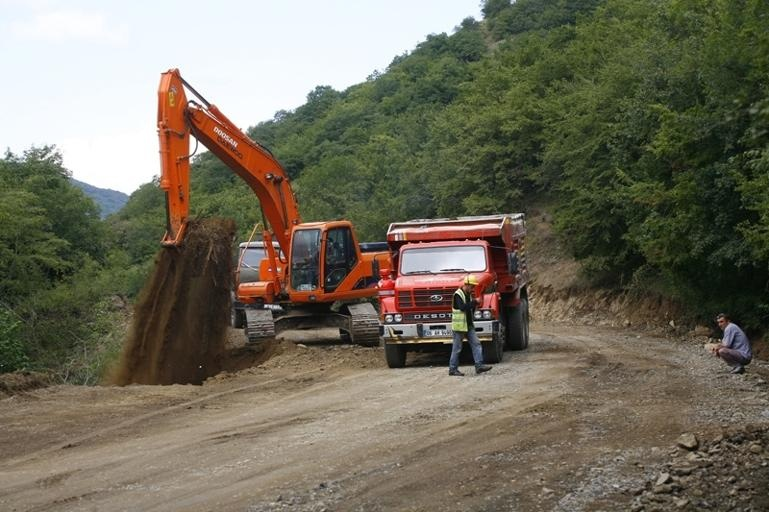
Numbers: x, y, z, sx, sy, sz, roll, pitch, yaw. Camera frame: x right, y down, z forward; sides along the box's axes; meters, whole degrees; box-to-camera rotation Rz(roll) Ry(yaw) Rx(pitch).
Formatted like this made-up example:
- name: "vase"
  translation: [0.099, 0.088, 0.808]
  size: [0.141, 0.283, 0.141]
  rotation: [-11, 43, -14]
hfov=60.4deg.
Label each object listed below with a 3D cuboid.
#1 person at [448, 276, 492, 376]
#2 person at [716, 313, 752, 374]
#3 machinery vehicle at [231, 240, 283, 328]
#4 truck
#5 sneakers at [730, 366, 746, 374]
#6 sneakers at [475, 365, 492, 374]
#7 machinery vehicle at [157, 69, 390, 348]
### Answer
- name: "person"
  translation: [2.129, 1.790, 17.426]
  size: [1.244, 2.498, 1.051]
  rotation: [-6, 8, -16]
- name: "person"
  translation: [8.822, 2.233, 16.753]
  size: [0.782, 1.460, 1.064]
  rotation: [0, 8, 26]
- name: "machinery vehicle"
  translation: [-5.522, 1.252, 28.521]
  size: [2.290, 3.053, 3.198]
  rotation: [0, -6, -6]
- name: "truck"
  translation: [2.381, 0.884, 20.612]
  size: [2.988, 3.090, 5.784]
  rotation: [-4, -5, 15]
- name: "sneakers"
  translation: [8.779, 2.844, 16.472]
  size: [0.487, 0.216, 0.154]
  rotation: [5, -6, 7]
- name: "sneakers"
  translation: [2.561, 2.954, 17.281]
  size: [0.491, 0.213, 0.165]
  rotation: [-6, 8, -8]
- name: "machinery vehicle"
  translation: [-3.482, -0.912, 22.614]
  size: [4.758, 8.271, 12.123]
  rotation: [-1, 3, 21]
